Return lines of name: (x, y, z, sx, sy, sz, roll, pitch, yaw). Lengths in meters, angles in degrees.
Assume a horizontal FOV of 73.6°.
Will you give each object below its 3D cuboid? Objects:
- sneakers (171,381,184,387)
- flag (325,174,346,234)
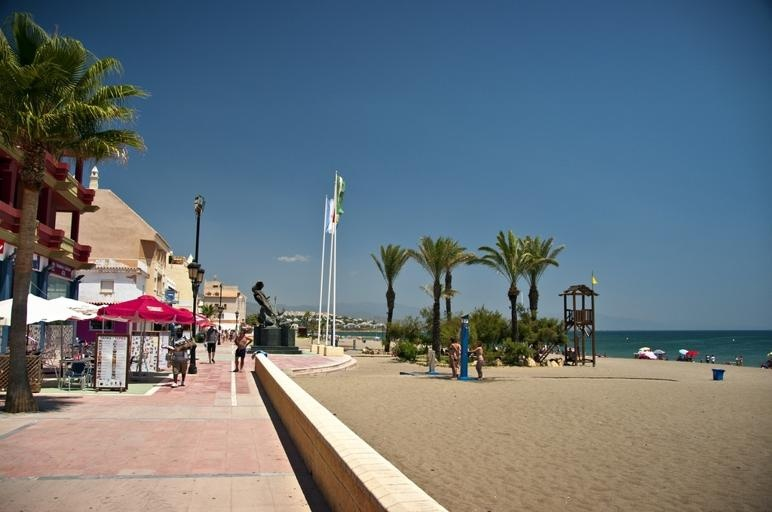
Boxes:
sneakers: (-7.214, 4.357, 17.530, 0.195, 0.166, 0.467, 4, -20, -9)
flag: (-3.963, -3.987, 39.779, 1.126, 4.325, 3.681, 1, -11, -11)
